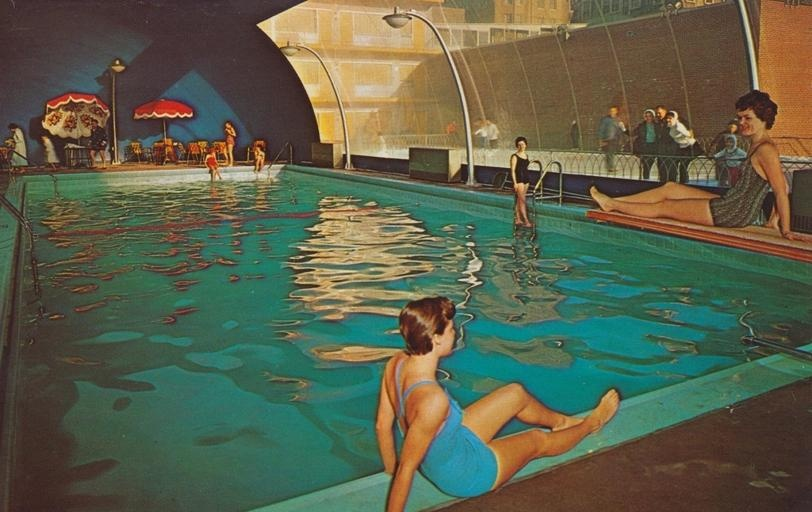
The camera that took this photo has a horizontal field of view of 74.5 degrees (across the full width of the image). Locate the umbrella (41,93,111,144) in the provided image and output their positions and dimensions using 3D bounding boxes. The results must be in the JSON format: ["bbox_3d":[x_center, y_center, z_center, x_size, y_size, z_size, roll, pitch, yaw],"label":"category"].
[{"bbox_3d":[-15.608,-6.576,25.452,2.571,1.883,2.420,-5,-32,-46],"label":"umbrella"}]

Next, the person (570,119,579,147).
[{"bbox_3d":[5.295,-3.833,16.756,0.133,0.843,0.455,-5,10,-20],"label":"person"}]

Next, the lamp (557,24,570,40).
[{"bbox_3d":[4.863,-6.901,16.497,0.317,0.424,0.140,2,7,45],"label":"lamp"}]
